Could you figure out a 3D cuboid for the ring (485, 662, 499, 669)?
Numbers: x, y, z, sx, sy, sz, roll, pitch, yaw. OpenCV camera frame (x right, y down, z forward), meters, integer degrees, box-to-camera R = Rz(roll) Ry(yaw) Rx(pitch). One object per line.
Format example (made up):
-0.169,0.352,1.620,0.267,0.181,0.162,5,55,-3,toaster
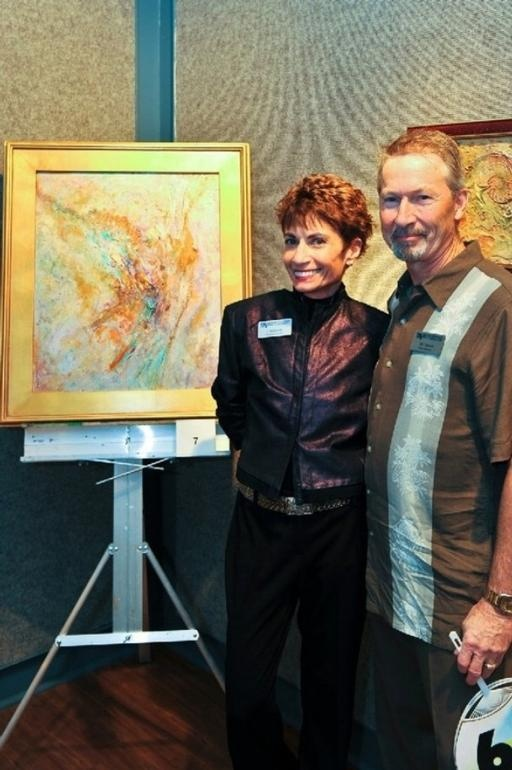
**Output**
0.417,0.496,1.075,0.013,0.010,0.016,3,-27,3,ring

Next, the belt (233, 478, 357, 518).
0.072,0.274,1.444,0.284,0.061,0.109,1,3,23,belt
